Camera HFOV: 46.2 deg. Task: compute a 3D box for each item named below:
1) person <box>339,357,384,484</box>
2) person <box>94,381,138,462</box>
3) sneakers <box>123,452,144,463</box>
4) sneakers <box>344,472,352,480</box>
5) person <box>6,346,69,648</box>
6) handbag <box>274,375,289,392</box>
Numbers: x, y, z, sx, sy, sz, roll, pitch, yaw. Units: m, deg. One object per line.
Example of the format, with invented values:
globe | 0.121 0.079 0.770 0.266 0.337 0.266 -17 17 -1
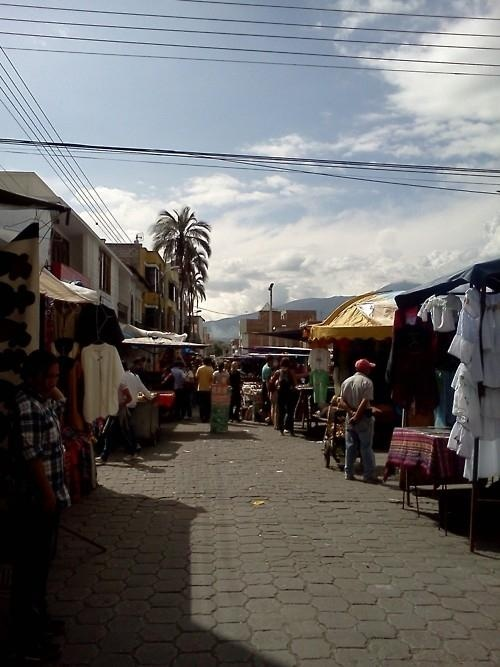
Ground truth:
person | 1.654 1.298 8.872 0.534 1.778 0.443 -1 -5 24
person | -2.394 1.572 10.509 0.666 1.363 1.426 2 -4 -18
sneakers | -2.044 2.208 10.359 0.485 0.200 0.167 -3 -4 40
sneakers | 1.480 2.134 8.803 0.094 0.090 0.171 -3 -3 5
person | -1.233 0.905 3.426 0.335 1.625 0.757 2 -4 -17
handbag | 0.784 1.241 14.471 0.178 0.352 0.498 3 -5 -29
